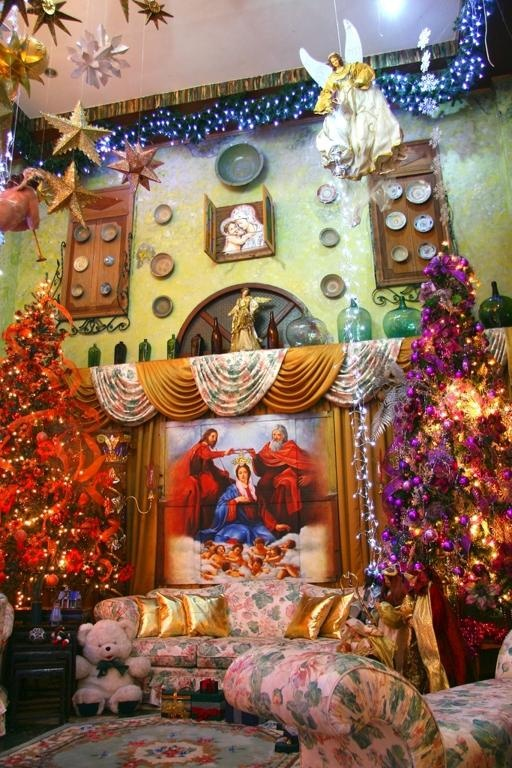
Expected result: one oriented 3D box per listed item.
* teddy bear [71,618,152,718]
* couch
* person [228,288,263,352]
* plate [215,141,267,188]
[{"bbox_3d":[-0.965,1.850,3.781,0.495,0.548,0.410,2,-9,-10],"label":"teddy bear"},{"bbox_3d":[-0.099,1.837,4.155,1.930,0.762,0.720,-3,-15,7],"label":"couch"},{"bbox_3d":[-0.116,-0.619,5.570,0.293,0.752,0.285,-7,-19,12],"label":"person"},{"bbox_3d":[-0.149,-2.410,6.474,0.535,0.527,0.161,-27,-7,9],"label":"plate"}]
